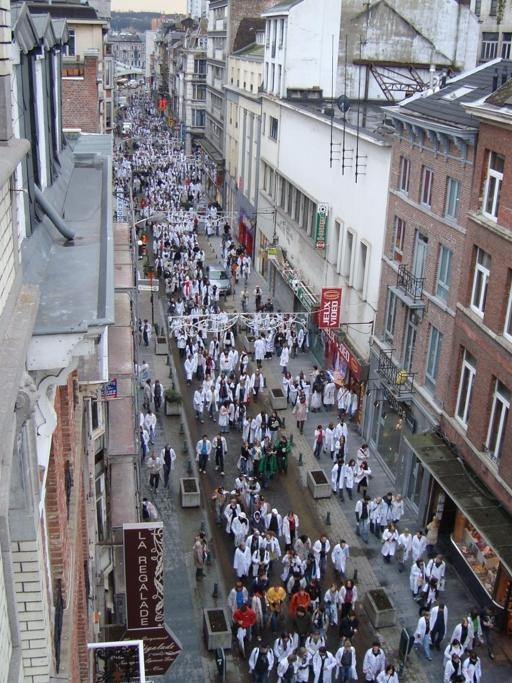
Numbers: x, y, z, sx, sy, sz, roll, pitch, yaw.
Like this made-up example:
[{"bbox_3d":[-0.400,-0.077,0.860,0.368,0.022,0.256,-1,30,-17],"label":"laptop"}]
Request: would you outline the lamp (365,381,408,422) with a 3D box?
[{"bbox_3d":[5.356,2.565,24.707,0.878,1.866,1.563,1,7,-7],"label":"lamp"}]
